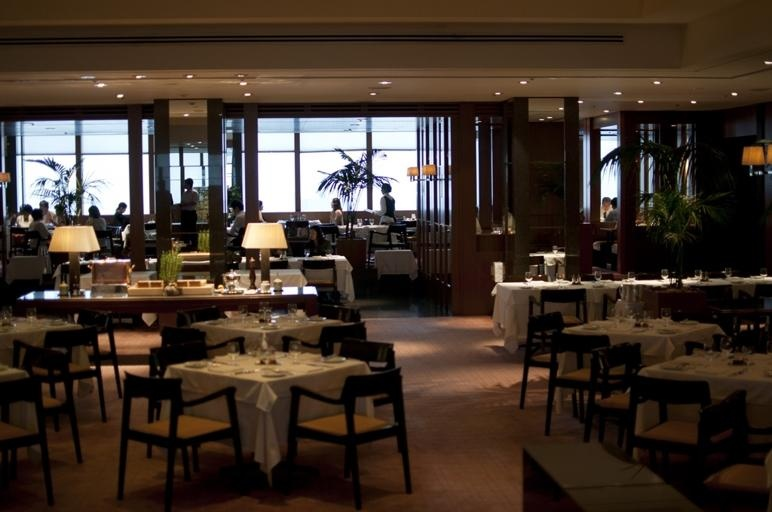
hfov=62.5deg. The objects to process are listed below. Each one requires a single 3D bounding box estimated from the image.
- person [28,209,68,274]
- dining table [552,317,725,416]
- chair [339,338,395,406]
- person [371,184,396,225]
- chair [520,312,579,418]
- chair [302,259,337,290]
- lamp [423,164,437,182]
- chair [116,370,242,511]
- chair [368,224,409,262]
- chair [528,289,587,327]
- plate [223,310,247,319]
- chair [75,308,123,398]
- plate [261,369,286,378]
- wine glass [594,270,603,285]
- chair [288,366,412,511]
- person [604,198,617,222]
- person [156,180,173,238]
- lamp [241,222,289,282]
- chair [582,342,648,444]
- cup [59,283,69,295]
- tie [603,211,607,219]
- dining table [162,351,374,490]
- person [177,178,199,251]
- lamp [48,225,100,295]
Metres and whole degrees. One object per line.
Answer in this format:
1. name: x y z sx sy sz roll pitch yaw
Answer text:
1. person: -8.069 -0.325 15.015 0.723 1.589 0.697 12 18 14
2. dining table: 2.718 1.302 6.486 1.271 0.654 1.259 -2 -2 19
3. chair: -0.183 1.162 6.025 0.581 0.796 0.555 1 -1 7
4. person: 0.026 -1.383 17.056 0.377 1.097 0.878 -2 4 -1
5. chair: 1.918 1.219 6.893 0.823 1.043 0.802 7 -14 17
6. chair: -1.267 0.363 12.170 0.560 0.797 0.587 0 9 0
7. lamp: 0.909 -1.714 13.184 0.325 0.333 0.321 0 -1 13
8. chair: -1.754 1.411 5.200 0.867 1.034 0.990 -4 5 -33
9. chair: 0.033 -0.302 16.347 0.991 1.358 0.911 2 1 32
10. chair: 2.179 0.663 8.147 0.423 0.594 0.435 0 10 1
11. plate: -1.720 0.683 7.277 0.198 0.088 0.196 -1 -2 2
12. chair: -3.295 1.110 7.150 0.596 0.735 0.604 9 -28 -25
13. plate: -0.906 0.958 5.143 0.198 0.026 0.197 -3 4 -12
14. wine glass: 3.456 0.367 10.376 0.137 0.221 0.141 -1 -1 -2
15. chair: -0.262 1.399 5.420 1.060 1.253 1.011 2 2 38
16. person: 5.364 -1.082 15.215 0.261 0.572 0.997 -1 4 15
17. person: -3.888 -0.819 11.167 0.286 1.045 0.205 -3 5 -20
18. lamp: -1.495 -0.033 7.929 0.696 0.721 0.662 6 7 44
19. chair: 2.027 1.378 5.582 0.385 0.546 0.366 -3 -18 37
20. cup: -4.121 0.432 8.133 0.147 0.149 0.146 0 -1 0
21. tie: 5.349 -0.974 15.532 0.112 0.203 0.111 1 4 9
22. dining table: -1.063 1.243 5.657 1.735 0.571 1.701 1 0 -18
23. person: -3.443 -0.722 11.119 0.317 1.240 0.166 -3 4 -15
24. lamp: -3.917 0.053 8.009 0.535 0.832 0.564 -4 5 -27
